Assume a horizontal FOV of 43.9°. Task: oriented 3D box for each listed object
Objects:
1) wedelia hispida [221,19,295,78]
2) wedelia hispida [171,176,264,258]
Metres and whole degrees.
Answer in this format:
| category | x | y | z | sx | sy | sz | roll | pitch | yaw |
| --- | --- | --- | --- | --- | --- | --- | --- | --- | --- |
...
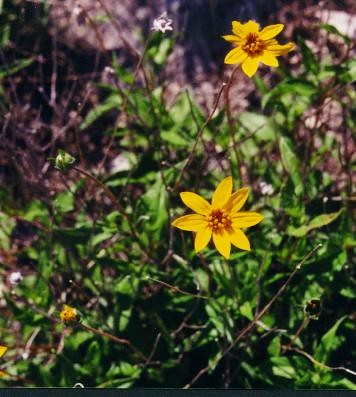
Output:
| category | x | y | z | sx | sy | sz | roll | pitch | yaw |
| --- | --- | --- | --- | --- | --- | --- | --- | --- | --- |
| wedelia hispida | 0.193 | -0.358 | 1.119 | 0.165 | 0.145 | 0.159 | -10 | 60 | -2 |
| wedelia hispida | 0.098 | 0.055 | 1.078 | 0.192 | 0.067 | 0.219 | 23 | 49 | 11 |
